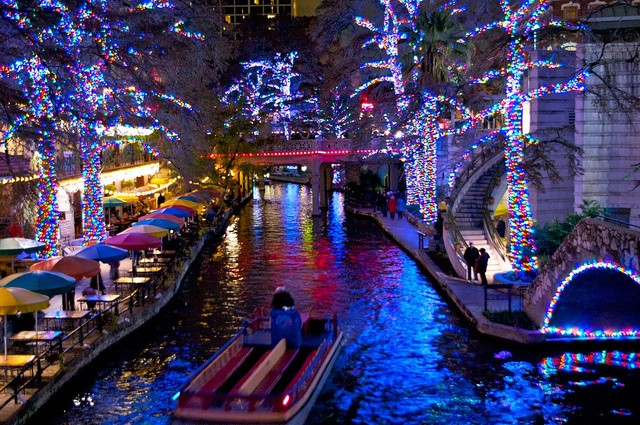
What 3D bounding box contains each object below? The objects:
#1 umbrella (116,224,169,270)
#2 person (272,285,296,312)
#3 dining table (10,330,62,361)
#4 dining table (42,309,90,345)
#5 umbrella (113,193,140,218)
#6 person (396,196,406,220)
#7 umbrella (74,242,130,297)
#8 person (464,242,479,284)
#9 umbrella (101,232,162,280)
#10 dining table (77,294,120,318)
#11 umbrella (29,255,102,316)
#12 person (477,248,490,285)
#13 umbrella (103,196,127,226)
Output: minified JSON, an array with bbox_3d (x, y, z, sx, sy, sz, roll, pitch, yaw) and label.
[{"bbox_3d":[-8.044,1.371,27.158,1.553,1.265,1.568,0,-1,-3],"label":"umbrella"},{"bbox_3d":[-1.259,2.990,20.179,0.893,0.888,0.868,-1,-5,-1],"label":"person"},{"bbox_3d":[-8.902,4.082,18.755,1.356,0.637,1.019,0,-2,14],"label":"dining table"},{"bbox_3d":[-9.037,4.150,20.933,1.344,0.785,1.298,1,6,2],"label":"dining table"},{"bbox_3d":[-14.578,-0.598,45.300,2.153,1.253,2.126,1,2,-2],"label":"umbrella"},{"bbox_3d":[6.467,-0.280,46.793,0.489,1.558,0.917,2,9,6],"label":"person"},{"bbox_3d":[-8.997,2.357,24.438,2.412,1.975,2.348,-4,17,-21],"label":"umbrella"},{"bbox_3d":[6.936,2.268,26.739,0.650,1.750,1.239,4,9,15],"label":"person"},{"bbox_3d":[-8.617,2.040,26.863,2.420,2.418,2.483,1,3,4],"label":"umbrella"},{"bbox_3d":[-8.339,3.419,22.462,0.983,0.633,1.261,1,1,-9],"label":"dining table"},{"bbox_3d":[-9.080,2.737,21.336,2.248,2.209,2.265,1,4,-2],"label":"umbrella"},{"bbox_3d":[7.262,2.488,26.036,0.489,1.501,1.437,4,9,16],"label":"person"},{"bbox_3d":[-13.658,-0.078,39.005,2.081,2.029,1.896,0,2,-1],"label":"umbrella"}]
